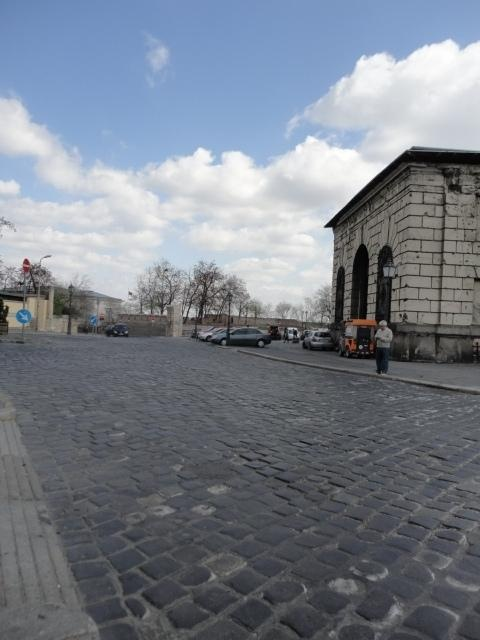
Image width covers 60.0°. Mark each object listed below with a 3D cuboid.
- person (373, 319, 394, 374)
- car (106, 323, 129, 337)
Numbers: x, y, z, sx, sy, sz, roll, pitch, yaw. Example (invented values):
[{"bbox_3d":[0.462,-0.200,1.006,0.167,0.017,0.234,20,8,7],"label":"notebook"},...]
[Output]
[{"bbox_3d":[4.590,0.904,13.358,0.439,1.696,1.163,1,-2,20],"label":"person"},{"bbox_3d":[-13.803,1.205,46.657,1.334,1.180,2.276,-1,11,-23],"label":"car"}]
